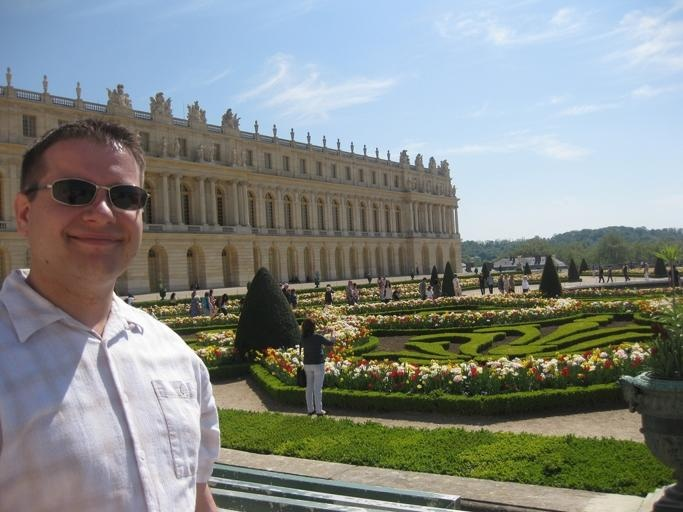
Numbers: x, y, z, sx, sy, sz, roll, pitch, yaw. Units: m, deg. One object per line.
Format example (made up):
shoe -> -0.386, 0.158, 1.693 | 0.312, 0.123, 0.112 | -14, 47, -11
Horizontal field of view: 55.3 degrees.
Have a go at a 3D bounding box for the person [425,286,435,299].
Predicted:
person -> 3.352, 1.431, 24.853 | 0.226, 0.462, 0.904 | 0, -6, 12

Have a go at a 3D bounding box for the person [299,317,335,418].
person -> -0.378, 1.581, 9.321 | 0.429, 1.327, 0.425 | 1, -5, 5
